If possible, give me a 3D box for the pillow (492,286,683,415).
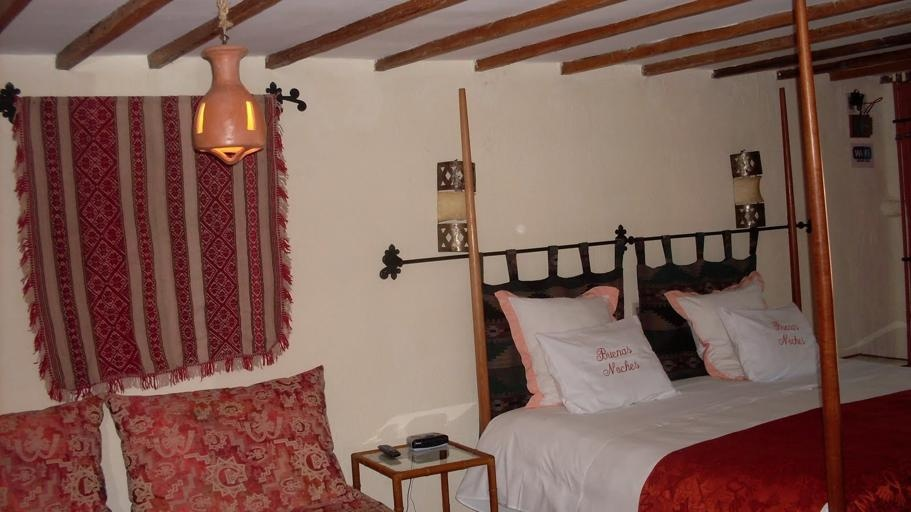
[{"bbox_3d":[0.905,0.554,4.220,0.912,0.841,0.255,-7,-28,-29],"label":"pillow"}]

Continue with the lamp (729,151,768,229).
[{"bbox_3d":[2.435,-0.550,5.336,0.343,0.634,0.129,-13,11,-19],"label":"lamp"}]

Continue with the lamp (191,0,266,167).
[{"bbox_3d":[-1.142,-0.841,3.110,0.273,0.770,0.314,0,14,44],"label":"lamp"}]

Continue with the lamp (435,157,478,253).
[{"bbox_3d":[-0.034,-0.343,4.538,0.288,0.654,0.121,-11,10,-6],"label":"lamp"}]
